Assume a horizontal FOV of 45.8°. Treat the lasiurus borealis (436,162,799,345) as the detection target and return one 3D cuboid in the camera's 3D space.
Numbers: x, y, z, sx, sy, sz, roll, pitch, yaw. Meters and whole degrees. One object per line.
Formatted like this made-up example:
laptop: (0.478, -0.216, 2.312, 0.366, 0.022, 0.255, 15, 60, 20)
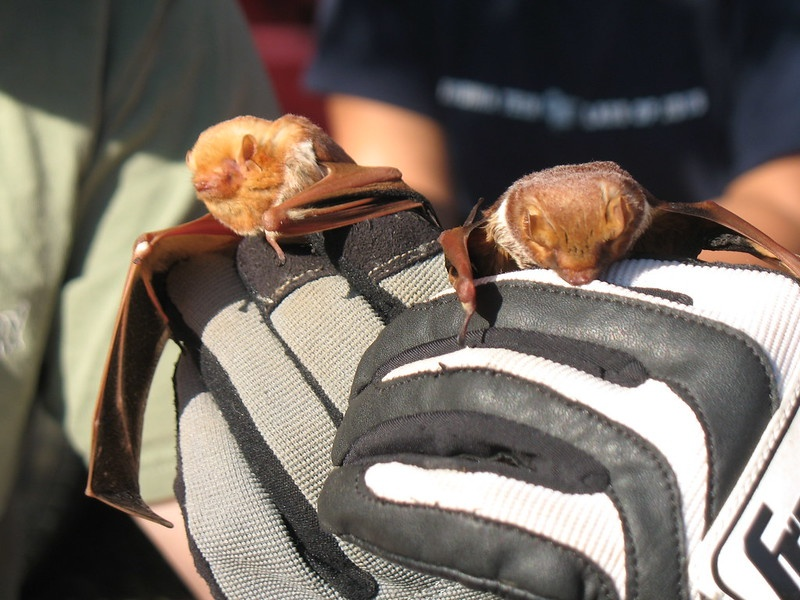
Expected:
lasiurus borealis: (0.345, -0.150, 1.464, 0.392, 0.329, 0.474, 3, 12, 31)
